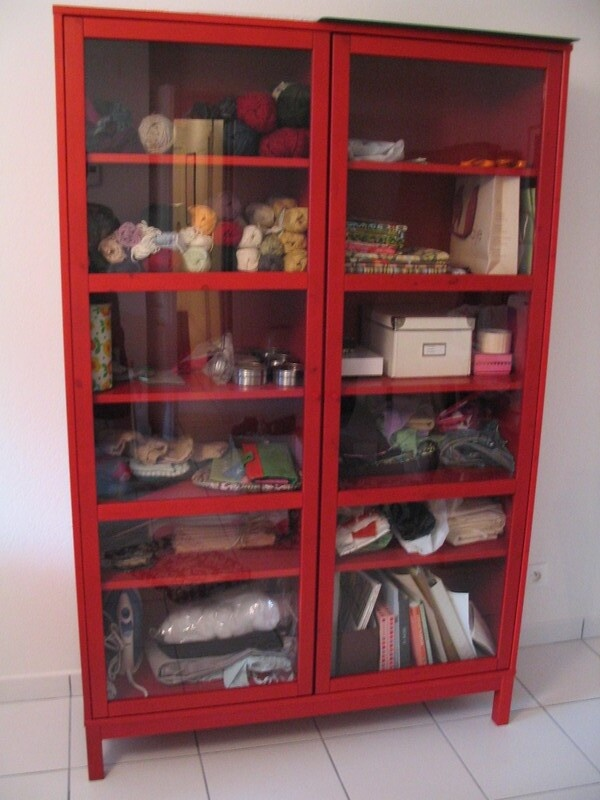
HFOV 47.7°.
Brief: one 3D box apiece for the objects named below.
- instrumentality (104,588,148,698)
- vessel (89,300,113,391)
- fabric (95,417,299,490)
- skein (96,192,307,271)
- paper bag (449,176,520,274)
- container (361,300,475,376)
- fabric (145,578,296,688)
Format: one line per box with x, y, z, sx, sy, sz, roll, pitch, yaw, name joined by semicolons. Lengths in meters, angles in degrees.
-0.423;0.568;1.617;0.105;0.190;0.086;-2;1;-7;instrumentality
-0.432;-0.117;1.470;0.061;0.183;0.060;-2;3;-32;vessel
-0.221;0.138;1.675;0.528;0.203;0.174;2;9;-11;fabric
-0.200;-0.351;1.442;0.439;0.162;0.019;-1;12;-14;skein
0.440;-0.421;1.615;0.139;0.243;0.180;-6;14;-37;paper bag
0.291;-0.150;1.740;0.233;0.142;0.232;-2;12;-21;container
-0.203;0.568;1.677;0.340;0.102;0.249;-1;10;-9;fabric
